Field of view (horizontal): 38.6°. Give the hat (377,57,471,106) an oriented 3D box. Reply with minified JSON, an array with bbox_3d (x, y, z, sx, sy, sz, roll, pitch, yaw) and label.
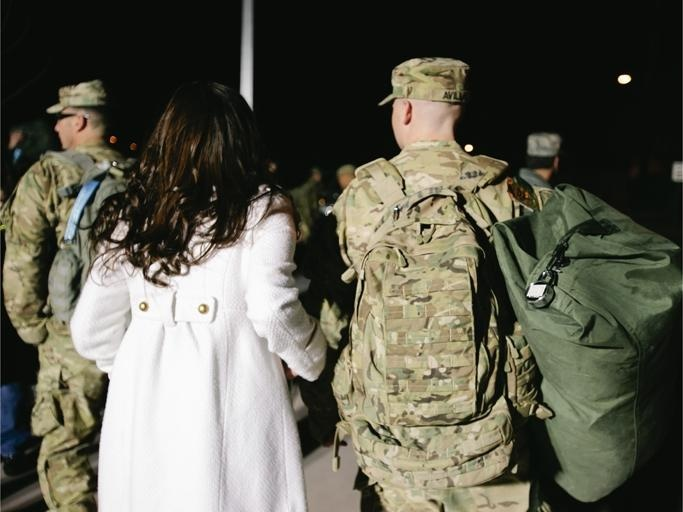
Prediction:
[{"bbox_3d":[0.447,-0.966,5.479,0.519,0.316,0.411,5,12,31],"label":"hat"}]

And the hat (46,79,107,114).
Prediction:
[{"bbox_3d":[-1.641,-0.972,6.056,0.271,0.152,0.213,-7,17,-2],"label":"hat"}]
